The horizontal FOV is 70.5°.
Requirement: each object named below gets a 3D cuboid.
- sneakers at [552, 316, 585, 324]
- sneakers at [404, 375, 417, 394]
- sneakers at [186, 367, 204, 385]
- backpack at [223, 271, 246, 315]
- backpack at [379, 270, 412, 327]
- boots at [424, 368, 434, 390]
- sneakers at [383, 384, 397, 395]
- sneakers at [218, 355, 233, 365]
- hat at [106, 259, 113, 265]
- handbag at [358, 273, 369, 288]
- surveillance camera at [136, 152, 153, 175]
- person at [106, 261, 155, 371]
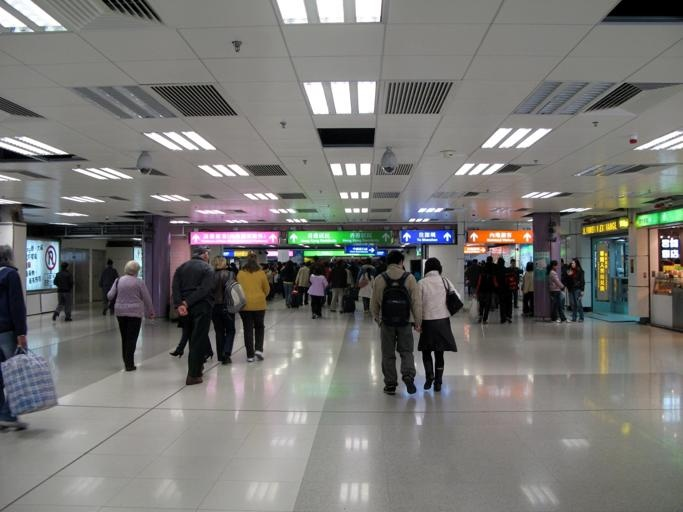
[{"bbox_3d":[6.383,1.812,13.671,0.496,0.201,0.158,-10,-15,41],"label":"sneakers"},{"bbox_3d":[0.914,1.738,6.503,0.120,0.243,0.230,-11,-5,7],"label":"sneakers"},{"bbox_3d":[-2.105,1.760,7.059,0.142,0.221,0.315,2,2,10],"label":"sneakers"},{"bbox_3d":[-1.808,0.612,8.087,0.347,0.634,0.430,-2,6,29],"label":"backpack"},{"bbox_3d":[0.796,0.542,6.503,0.386,0.662,0.383,-2,10,30],"label":"backpack"},{"bbox_3d":[1.223,1.714,6.769,0.127,0.305,0.323,0,2,19],"label":"boots"},{"bbox_3d":[0.655,1.795,6.585,0.166,0.143,0.160,0,2,3],"label":"sneakers"},{"bbox_3d":[-1.990,1.781,8.275,0.213,0.209,0.114,-5,0,-1],"label":"sneakers"},{"bbox_3d":[-8.589,0.232,17.964,0.302,0.227,0.320,-3,1,-4],"label":"hat"},{"bbox_3d":[0.613,0.695,13.581,0.391,0.452,0.218,8,7,-2],"label":"handbag"},{"bbox_3d":[-3.235,-1.564,7.971,0.206,0.386,0.436,-1,2,-22],"label":"surveillance camera"},{"bbox_3d":[-3.525,0.984,8.118,0.659,1.780,1.310,-1,2,-25],"label":"person"}]
